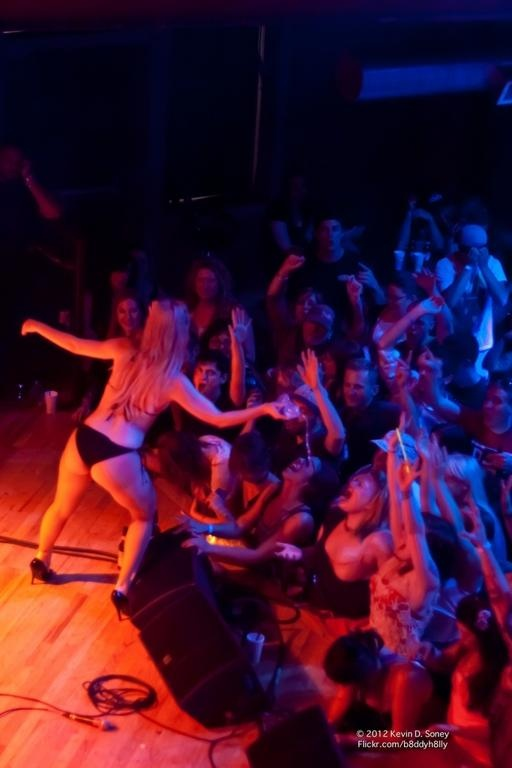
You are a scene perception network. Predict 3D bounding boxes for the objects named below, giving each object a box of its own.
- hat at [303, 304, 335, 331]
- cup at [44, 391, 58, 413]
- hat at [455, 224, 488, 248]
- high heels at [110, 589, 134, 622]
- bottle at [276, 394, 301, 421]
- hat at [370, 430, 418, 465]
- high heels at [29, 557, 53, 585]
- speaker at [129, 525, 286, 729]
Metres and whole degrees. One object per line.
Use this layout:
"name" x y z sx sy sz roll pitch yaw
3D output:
"hat" 0.378 -0.381 3.862 0.127 0.136 0.175 23 16 -23
"cup" -1.511 0.134 4.926 0.081 0.128 0.084 14 32 -9
"hat" 1.388 -0.951 4.330 0.158 0.127 0.161 -2 31 -2
"high heels" -0.556 0.926 2.798 0.069 0.136 0.118 -17 36 -17
"bottle" 0.139 0.087 2.845 0.040 0.086 0.115 -26 33 11
"hat" 0.546 0.255 2.610 0.164 0.086 0.110 24 15 -42
"high heels" -0.999 0.874 3.135 0.058 0.096 0.192 5 2 2
"speaker" -0.167 0.932 2.456 0.498 0.316 0.733 -7 26 -13
